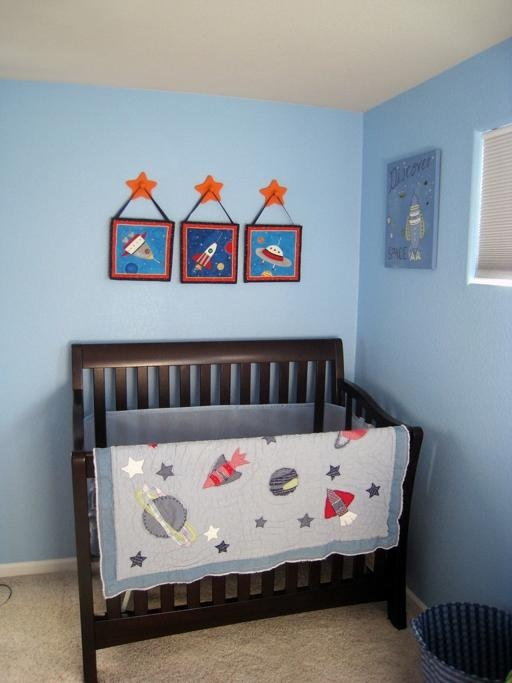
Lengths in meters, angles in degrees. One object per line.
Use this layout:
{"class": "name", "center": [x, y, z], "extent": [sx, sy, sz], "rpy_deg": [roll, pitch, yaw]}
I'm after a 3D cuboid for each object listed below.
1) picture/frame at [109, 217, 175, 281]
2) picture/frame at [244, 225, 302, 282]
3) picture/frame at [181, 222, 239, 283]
{"class": "picture/frame", "center": [-0.485, -0.391, 2.325], "extent": [0.253, 0.266, 0.027], "rpy_deg": [1, 7, -14]}
{"class": "picture/frame", "center": [0.064, -0.400, 2.491], "extent": [0.242, 0.238, 0.027], "rpy_deg": [-1, 14, -15]}
{"class": "picture/frame", "center": [-0.208, -0.391, 2.407], "extent": [0.256, 0.267, 0.027], "rpy_deg": [0, 7, -17]}
